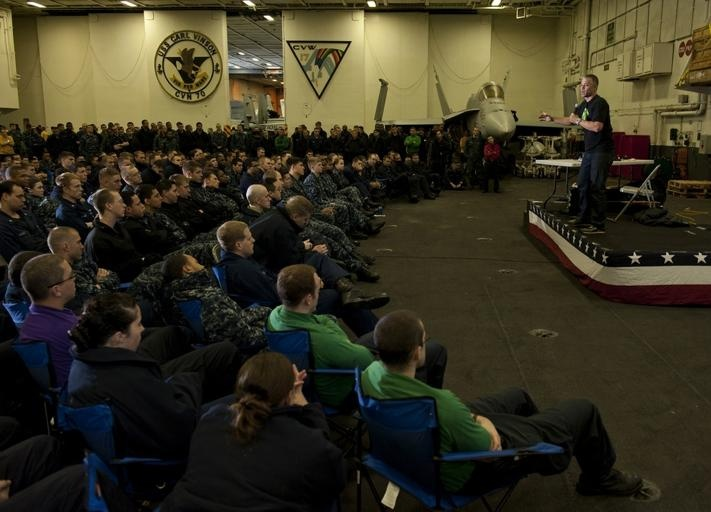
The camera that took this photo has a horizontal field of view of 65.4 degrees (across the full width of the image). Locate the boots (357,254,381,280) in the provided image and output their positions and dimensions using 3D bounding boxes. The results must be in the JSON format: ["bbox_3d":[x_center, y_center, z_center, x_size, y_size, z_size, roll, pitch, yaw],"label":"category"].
[{"bbox_3d":[0.173,0.181,7.447,0.174,0.180,0.467,3,16,11],"label":"boots"}]

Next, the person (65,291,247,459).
[{"bbox_3d":[-1.138,0.693,3.178,0.617,0.889,0.699,27,47,19],"label":"person"}]

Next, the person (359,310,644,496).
[{"bbox_3d":[0.807,0.925,3.470,1.754,0.851,1.044,-1,-2,-28],"label":"person"}]

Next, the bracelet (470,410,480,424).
[{"bbox_3d":[0.651,0.886,3.061,0.070,0.064,0.082,-2,3,0],"label":"bracelet"}]

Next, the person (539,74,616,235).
[{"bbox_3d":[3.071,-1.380,7.539,0.789,2.075,0.957,6,17,20],"label":"person"}]

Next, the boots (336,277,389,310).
[{"bbox_3d":[0.028,0.353,4.840,0.561,0.183,0.348,-4,37,4],"label":"boots"}]
